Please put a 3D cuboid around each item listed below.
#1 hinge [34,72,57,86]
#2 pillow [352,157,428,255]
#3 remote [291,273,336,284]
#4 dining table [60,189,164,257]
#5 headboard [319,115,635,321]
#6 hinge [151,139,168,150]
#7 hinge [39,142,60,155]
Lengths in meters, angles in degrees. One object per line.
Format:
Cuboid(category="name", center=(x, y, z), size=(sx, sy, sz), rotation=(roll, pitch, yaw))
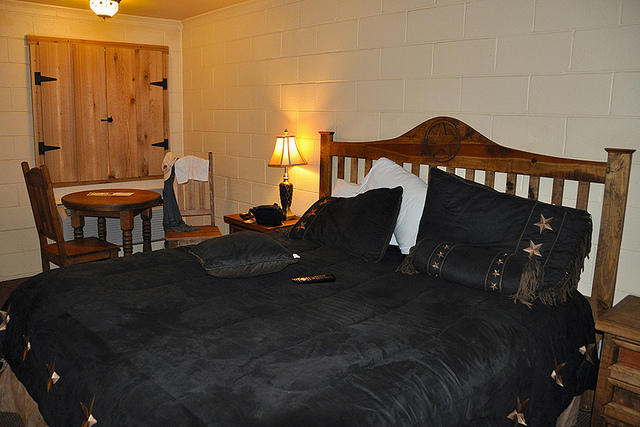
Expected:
Cuboid(category="hinge", center=(-2.944, -1.431, 4.633), size=(0.087, 0.098, 0.160), rotation=(11, 15, 25))
Cuboid(category="pillow", center=(0.588, 0.017, 3.187), size=(0.208, 0.644, 0.672), rotation=(18, 18, -28))
Cuboid(category="remote", center=(-0.037, 0.384, 2.575), size=(0.197, 0.027, 0.089), rotation=(-4, 11, -7))
Cuboid(category="dining table", center=(-1.998, -0.056, 4.150), size=(0.884, 0.637, 0.872), rotation=(-5, 12, -28))
Cuboid(category="headboard", center=(1.039, 0.049, 2.705), size=(1.272, 0.831, 0.068), rotation=(16, 19, 38))
Cuboid(category="hinge", center=(-1.977, -0.845, 5.339), size=(0.189, 0.122, 0.028), rotation=(-9, 15, -40))
Cuboid(category="hinge", center=(-2.989, -0.717, 4.757), size=(0.151, 0.109, 0.091), rotation=(-2, 7, -35))
